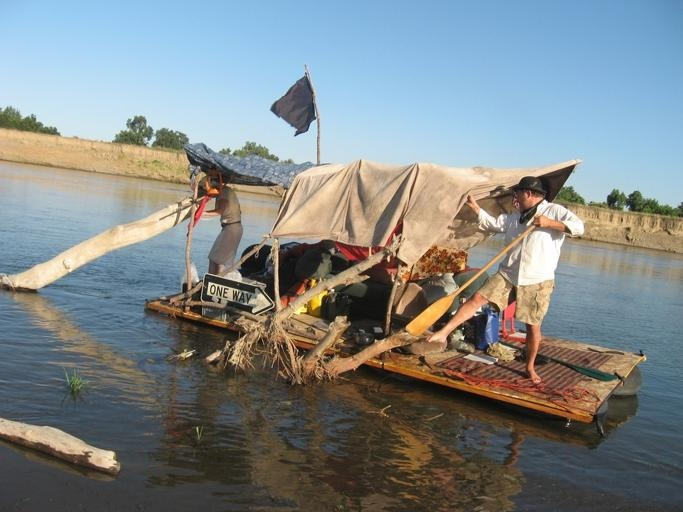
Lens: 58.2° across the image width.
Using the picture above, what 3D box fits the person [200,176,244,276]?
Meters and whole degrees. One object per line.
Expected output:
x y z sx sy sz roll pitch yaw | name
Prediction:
-2.093 -0.492 10.793 0.573 1.627 0.638 14 7 17 | person

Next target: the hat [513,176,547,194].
2.530 -0.955 8.220 0.400 0.184 0.270 10 6 16 | hat

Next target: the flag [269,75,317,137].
-0.903 -3.052 12.558 0.490 1.126 1.191 8 6 -28 | flag

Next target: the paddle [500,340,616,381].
3.131 1.453 9.133 1.985 0.076 0.429 13 12 15 | paddle

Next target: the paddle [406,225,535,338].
1.909 0.404 9.304 0.142 3.382 0.354 53 11 -33 | paddle
